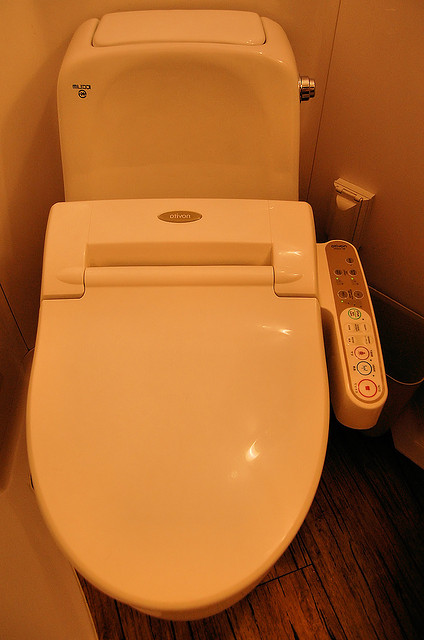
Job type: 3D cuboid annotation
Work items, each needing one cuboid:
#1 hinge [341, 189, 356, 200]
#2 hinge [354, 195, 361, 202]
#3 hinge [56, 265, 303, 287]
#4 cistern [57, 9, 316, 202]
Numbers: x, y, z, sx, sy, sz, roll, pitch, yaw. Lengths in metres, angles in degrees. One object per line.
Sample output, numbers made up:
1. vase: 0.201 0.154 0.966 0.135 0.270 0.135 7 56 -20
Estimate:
1. hinge: 0.252 -0.231 0.891 0.004 0.006 0.023 -21 46 -34
2. hinge: 0.261 -0.219 0.876 0.008 0.002 0.010 5 94 29
3. hinge: -0.044 -0.057 0.645 0.211 0.018 0.025 -2 85 0
4. cistern: -0.047 -0.275 0.745 0.290 0.310 0.325 0 53 -8
